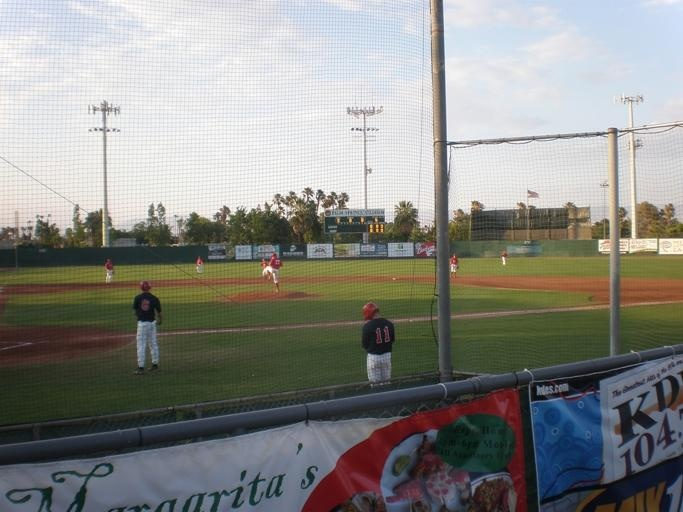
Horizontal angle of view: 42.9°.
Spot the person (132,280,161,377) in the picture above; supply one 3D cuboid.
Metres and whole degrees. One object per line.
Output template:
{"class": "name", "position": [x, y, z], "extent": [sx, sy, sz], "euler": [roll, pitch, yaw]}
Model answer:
{"class": "person", "position": [-3.168, 1.150, 14.190], "extent": [0.482, 1.349, 0.701], "euler": [0, 0, -24]}

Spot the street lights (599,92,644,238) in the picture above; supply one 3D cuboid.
{"class": "street lights", "position": [3.591, -0.854, 11.237], "extent": [0.203, 2.589, 0.450], "euler": [2, 4, -21]}
